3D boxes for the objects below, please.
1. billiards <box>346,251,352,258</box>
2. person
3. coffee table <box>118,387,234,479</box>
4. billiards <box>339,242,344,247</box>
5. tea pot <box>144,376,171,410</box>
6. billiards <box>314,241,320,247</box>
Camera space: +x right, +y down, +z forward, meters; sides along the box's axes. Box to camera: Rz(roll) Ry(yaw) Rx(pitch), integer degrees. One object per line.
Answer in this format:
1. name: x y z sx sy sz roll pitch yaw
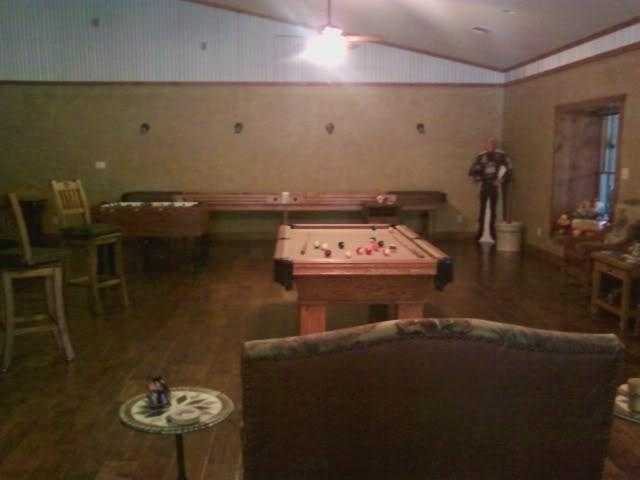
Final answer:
1. billiards: 0.224 0.105 4.090 0.034 0.028 0.046 1 3 19
2. person: 2.950 -0.858 9.125 0.684 1.803 0.539 3 13 19
3. coffee table: -0.662 0.812 2.523 0.485 0.349 0.492 2 6 12
4. billiards: 0.193 0.035 4.663 0.041 0.040 0.038 -1 5 -1
5. tea pot: -0.791 0.733 2.569 0.111 0.147 0.089 10 14 33
6. billiards: -0.028 0.027 4.658 0.051 0.065 0.040 0 -3 -3
